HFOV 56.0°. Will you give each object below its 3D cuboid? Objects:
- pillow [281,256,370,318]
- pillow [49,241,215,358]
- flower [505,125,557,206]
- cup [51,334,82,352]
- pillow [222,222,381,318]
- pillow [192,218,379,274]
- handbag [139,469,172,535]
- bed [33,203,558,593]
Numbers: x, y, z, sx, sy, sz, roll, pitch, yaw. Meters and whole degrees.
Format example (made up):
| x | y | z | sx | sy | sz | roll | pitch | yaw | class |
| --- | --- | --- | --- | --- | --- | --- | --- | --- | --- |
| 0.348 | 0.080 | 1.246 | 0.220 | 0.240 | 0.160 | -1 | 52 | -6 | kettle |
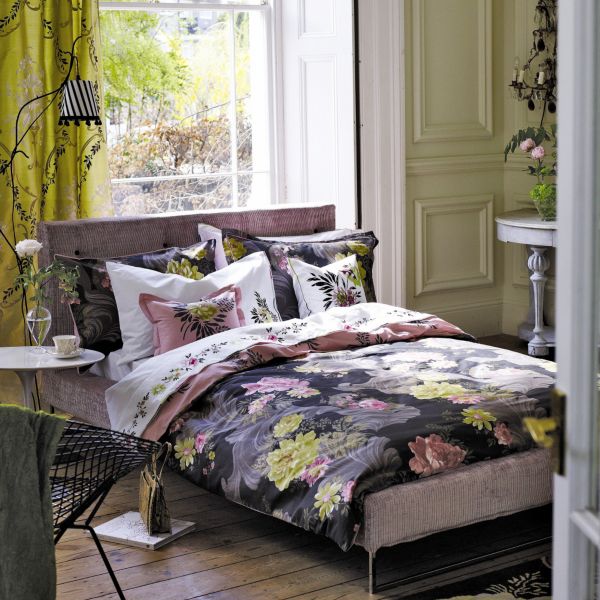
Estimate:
| x | y | z | sx | sy | sz | roll | pitch | yaw | class |
| --- | --- | --- | --- | --- | --- | --- | --- | --- | --- |
| 0.213 | -0.047 | 3.575 | 0.560 | 0.378 | 0.187 | -8 | -6 | -28 | pillow |
| -0.850 | 0.003 | 3.294 | 0.988 | 0.599 | 0.208 | -9 | 14 | 6 | pillow |
| 1.966 | -1.159 | 4.836 | 0.412 | 0.745 | 0.989 | 0 | 8 | 19 | flower |
| -1.216 | 0.218 | 2.931 | 0.094 | 0.068 | 0.104 | 0 | 11 | -2 | cup |
| -0.019 | -0.164 | 3.696 | 1.024 | 0.614 | 0.143 | 1 | -4 | 5 | pillow |
| -0.054 | -0.374 | 3.800 | 0.969 | 0.121 | 0.368 | -2 | 28 | -19 | pillow |
| -0.640 | 0.896 | 2.480 | 0.137 | 0.289 | 0.322 | -4 | 6 | -19 | handbag |
| -0.126 | 0.269 | 2.944 | 1.795 | 1.193 | 2.438 | -10 | 16 | -34 | bed |
